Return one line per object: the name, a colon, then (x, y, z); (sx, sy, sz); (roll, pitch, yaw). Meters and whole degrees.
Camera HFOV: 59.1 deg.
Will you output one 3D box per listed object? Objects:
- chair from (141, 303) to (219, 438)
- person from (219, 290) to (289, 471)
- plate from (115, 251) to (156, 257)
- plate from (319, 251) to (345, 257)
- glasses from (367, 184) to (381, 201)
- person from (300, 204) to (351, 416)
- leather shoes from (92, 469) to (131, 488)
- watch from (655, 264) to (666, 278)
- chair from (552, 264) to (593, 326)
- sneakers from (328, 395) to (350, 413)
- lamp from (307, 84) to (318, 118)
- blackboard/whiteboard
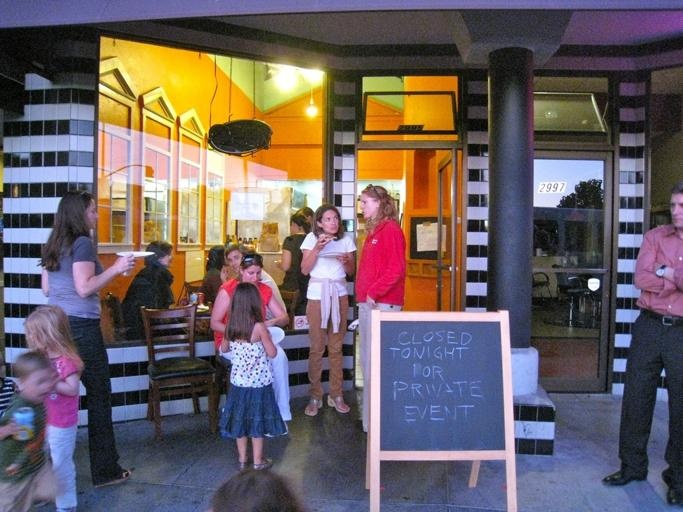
chair: (-1.455, 0.988, 5.455); (0.635, 1.084, 0.817); (-3, 3, -19)
person: (-0.667, 0.902, 4.534); (0.474, 1.424, 0.223); (-2, 3, -7)
plate: (-1.526, -0.019, 4.594); (0.239, 0.026, 0.247); (1, 2, 5)
plate: (-0.089, -0.009, 5.655); (0.307, 0.032, 0.238); (-1, -9, -6)
glasses: (0.289, -0.558, 5.233); (0.034, 0.121, 0.117); (-9, 15, -22)
person: (-0.109, 0.510, 5.678); (0.519, 1.977, 0.263); (-2, 3, -7)
leather shoes: (-1.675, 1.638, 4.405); (0.255, 0.093, 0.088); (-11, 5, -34)
watch: (2.310, 0.108, 4.333); (0.088, 0.092, 0.054); (12, 7, -36)
chair: (2.459, 0.449, 6.490); (0.532, 0.584, 0.513); (2, -2, -30)
sneakers: (-0.027, 1.433, 5.857); (0.105, 0.118, 0.239); (2, 0, -40)
lamp: (-0.309, -1.612, 6.297); (0.120, 0.311, 0.028); (-2, 3, -4)
blackboard/whiteboard: (0.667, 0.890, 3.989); (0.931, 0.950, 0.336); (-1, -6, 3)
